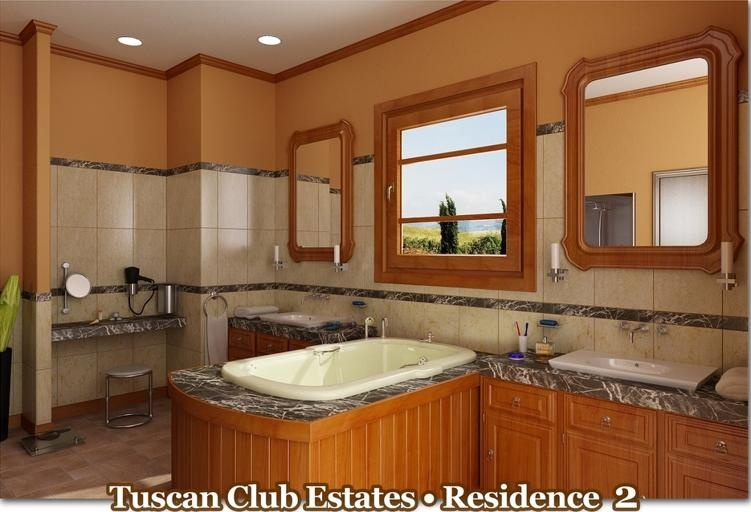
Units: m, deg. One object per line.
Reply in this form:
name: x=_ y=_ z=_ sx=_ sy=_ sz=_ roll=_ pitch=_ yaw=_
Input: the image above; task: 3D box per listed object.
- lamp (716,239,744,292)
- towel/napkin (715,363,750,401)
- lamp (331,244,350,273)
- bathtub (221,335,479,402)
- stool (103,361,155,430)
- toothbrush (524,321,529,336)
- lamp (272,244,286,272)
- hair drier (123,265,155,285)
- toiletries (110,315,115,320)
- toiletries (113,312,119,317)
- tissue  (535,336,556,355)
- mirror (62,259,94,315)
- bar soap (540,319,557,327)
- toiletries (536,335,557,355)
lamp: x=2.262 y=0.063 z=3.376 sx=0.109 sy=0.314 sz=0.187 roll=0 pitch=1 yaw=41
towel/napkin: x=2.120 y=0.771 z=3.147 sx=0.201 sy=0.063 sz=0.184 roll=-2 pitch=30 yaw=20
lamp: x=-0.356 y=0.021 z=5.203 sx=0.121 sy=0.275 sz=0.205 roll=0 pitch=1 yaw=19
bathtub: x=-0.278 y=0.855 z=4.143 sx=0.772 sy=0.321 sz=1.062 roll=-1 pitch=-3 yaw=43
stool: x=-2.491 y=1.385 z=5.302 sx=0.605 sy=0.617 sz=0.606 roll=3 pitch=-6 yaw=-31
toothbrush: x=1.181 y=0.577 z=4.127 sx=0.033 sy=0.115 sz=0.088 roll=0 pitch=1 yaw=17
lamp: x=-1.056 y=0.027 z=5.830 sx=0.126 sy=0.281 sz=0.254 roll=-1 pitch=1 yaw=-11
hair drier: x=-2.514 y=0.211 z=5.683 sx=0.313 sy=0.200 sz=0.161 roll=-1 pitch=1 yaw=-34
toiletries: x=-2.724 y=0.648 z=5.498 sx=0.053 sy=0.034 sz=0.050 roll=-3 pitch=-3 yaw=40
toiletries: x=-2.704 y=0.621 z=5.533 sx=0.037 sy=0.045 sz=0.051 roll=-7 pitch=-9 yaw=36
tissue : x=1.288 y=0.687 z=4.015 sx=0.138 sy=0.137 sz=0.178 roll=0 pitch=1 yaw=18
mirror: x=-3.000 y=0.326 z=5.323 sx=0.261 sy=0.520 sz=0.139 roll=-1 pitch=1 yaw=-26
bar soap: x=1.325 y=0.524 z=4.042 sx=0.144 sy=0.069 sz=0.080 roll=0 pitch=1 yaw=26
toiletries: x=1.282 y=0.674 z=4.009 sx=0.145 sy=0.144 sz=0.141 roll=0 pitch=-3 yaw=-26
